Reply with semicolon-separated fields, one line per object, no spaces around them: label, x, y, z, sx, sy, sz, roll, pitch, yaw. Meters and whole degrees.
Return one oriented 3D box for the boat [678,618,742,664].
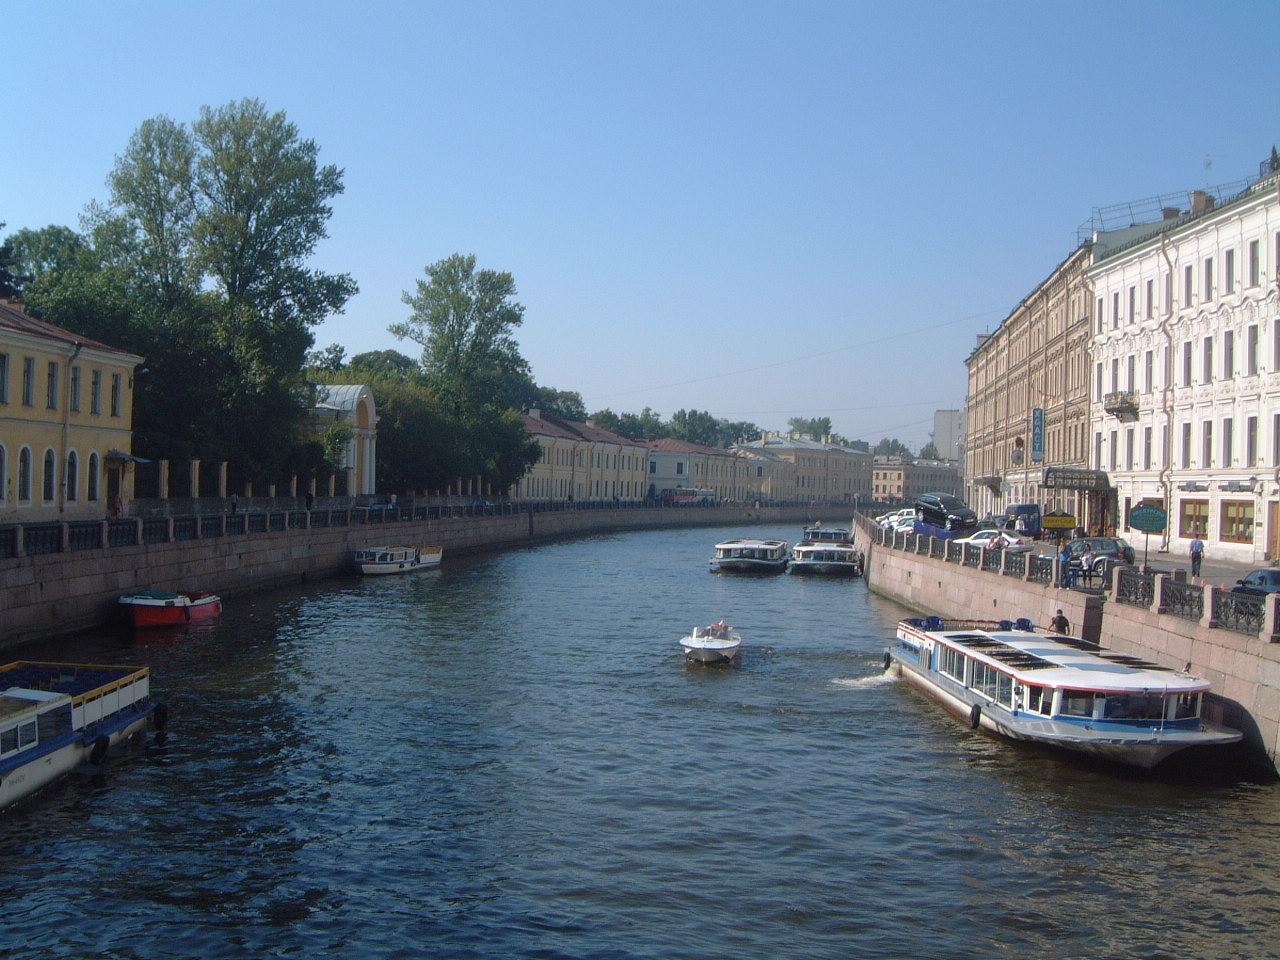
boat;2.756;6.246;47.267;2.065;1.154;3.985;1;8;7

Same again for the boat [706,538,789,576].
boat;7.484;5.596;83.809;3.587;2.188;7.875;5;9;28

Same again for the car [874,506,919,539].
car;17.961;3.077;85.741;2.526;1.295;1.660;4;-3;-17

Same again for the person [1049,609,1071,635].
person;13.921;4.778;40.610;0.367;1.160;0.581;8;-15;-38

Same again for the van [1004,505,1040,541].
van;24.144;2.662;77.158;2.101;2.238;4.023;0;-4;14
